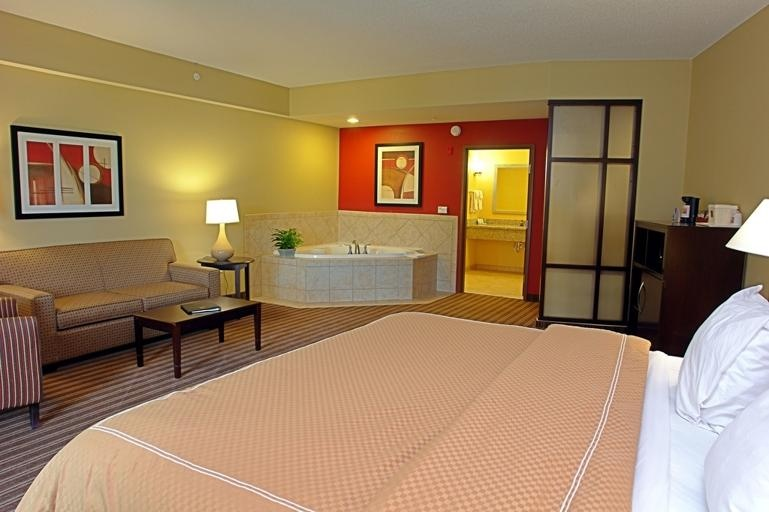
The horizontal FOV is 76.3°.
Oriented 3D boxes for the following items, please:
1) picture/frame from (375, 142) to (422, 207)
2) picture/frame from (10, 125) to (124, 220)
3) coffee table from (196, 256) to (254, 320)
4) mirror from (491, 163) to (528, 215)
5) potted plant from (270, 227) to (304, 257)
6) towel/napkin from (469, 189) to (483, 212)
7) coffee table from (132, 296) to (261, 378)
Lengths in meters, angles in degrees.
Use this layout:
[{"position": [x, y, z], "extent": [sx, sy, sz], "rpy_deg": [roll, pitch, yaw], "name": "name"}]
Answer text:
[{"position": [0.264, -1.396, 8.143], "extent": [1.067, 1.298, 0.092], "rpy_deg": [3, 7, 26], "name": "picture/frame"}, {"position": [-3.449, -0.911, 5.233], "extent": [0.047, 0.887, 1.087], "rpy_deg": [10, 11, 35], "name": "picture/frame"}, {"position": [-1.998, 0.349, 6.545], "extent": [0.637, 0.712, 0.703], "rpy_deg": [0, 2, 4], "name": "coffee table"}, {"position": [2.395, -1.271, 9.330], "extent": [0.597, 0.921, 0.179], "rpy_deg": [1, 10, 5], "name": "mirror"}, {"position": [-1.375, -0.244, 7.253], "extent": [0.458, 0.342, 0.445], "rpy_deg": [-6, 9, -39], "name": "potted plant"}, {"position": [1.764, -1.093, 9.480], "extent": [0.443, 0.430, 0.144], "rpy_deg": [-3, 4, -39], "name": "towel/napkin"}, {"position": [-1.935, 0.577, 4.745], "extent": [0.717, 0.529, 1.141], "rpy_deg": [4, 8, 28], "name": "coffee table"}]
